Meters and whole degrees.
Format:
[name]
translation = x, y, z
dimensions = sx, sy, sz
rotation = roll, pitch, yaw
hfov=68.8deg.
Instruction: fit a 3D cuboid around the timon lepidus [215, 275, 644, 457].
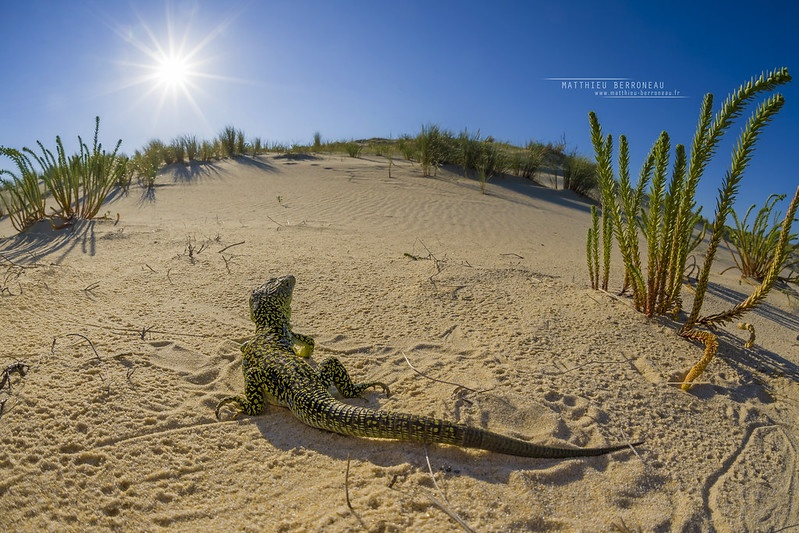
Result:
[timon lepidus]
translation = -0.317, 0.699, 6.484
dimensions = 3.928, 1.188, 1.999
rotation = 8, 6, 37
